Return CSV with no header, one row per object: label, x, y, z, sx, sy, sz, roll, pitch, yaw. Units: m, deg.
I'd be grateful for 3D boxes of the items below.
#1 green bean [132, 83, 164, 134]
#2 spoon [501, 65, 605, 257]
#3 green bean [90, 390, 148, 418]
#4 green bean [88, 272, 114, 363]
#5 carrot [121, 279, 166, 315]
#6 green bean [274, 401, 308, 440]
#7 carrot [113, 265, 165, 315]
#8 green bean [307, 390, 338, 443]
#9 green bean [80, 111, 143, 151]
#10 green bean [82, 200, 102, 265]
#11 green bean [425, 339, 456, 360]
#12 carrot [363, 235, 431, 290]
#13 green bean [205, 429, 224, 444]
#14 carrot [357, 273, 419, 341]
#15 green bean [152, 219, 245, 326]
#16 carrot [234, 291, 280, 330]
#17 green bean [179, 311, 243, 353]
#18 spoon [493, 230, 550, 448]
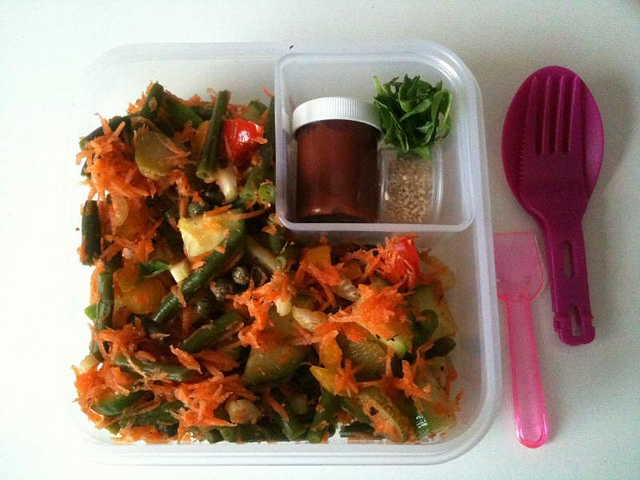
green bean,-0.487,-0.390,1.669,0.049,0.177,0.044,23,-6,-19
spoon,0.720,-0.313,1.742,0.209,0.717,0.107,0,1,7
green bean,-0.566,0.453,1.596,0.169,0.059,0.050,-7,-6,-16
green bean,-0.614,0.216,1.613,0.093,0.251,0.042,-6,-3,31
carrot,-0.503,0.164,1.635,0.097,0.102,0.020,31,-9,9
green bean,-0.089,0.503,1.616,0.071,0.103,0.027,-28,-3,-2
carrot,-0.511,0.139,1.640,0.128,0.143,0.034,-5,-2,-4
green bean,0.006,0.490,1.616,0.092,0.106,0.026,-5,-2,-6
green bean,-0.594,-0.310,1.644,0.173,0.113,0.060,-4,-2,-18
green bean,-0.641,-0.023,1.622,0.050,0.180,0.024,-4,-2,-24
green bean,0.342,0.315,1.709,0.115,0.038,0.030,-24,28,11
carrot,0.203,0.067,1.649,0.170,0.127,0.073,-5,-2,-1
green bean,-0.294,0.543,1.605,0.047,0.044,0.020,-4,-2,-19
carrot,0.185,0.180,1.611,0.141,0.156,0.061,29,-18,-16
green bean,-0.335,0.100,1.625,0.067,0.341,0.054,40,3,-39
carrot,-0.173,0.183,1.597,0.102,0.090,0.158,-7,20,-19
green bean,-0.304,0.260,1.621,0.159,0.033,0.029,-37,29,-10
spoon,0.610,0.294,1.737,0.172,0.635,0.029,-4,-6,2
